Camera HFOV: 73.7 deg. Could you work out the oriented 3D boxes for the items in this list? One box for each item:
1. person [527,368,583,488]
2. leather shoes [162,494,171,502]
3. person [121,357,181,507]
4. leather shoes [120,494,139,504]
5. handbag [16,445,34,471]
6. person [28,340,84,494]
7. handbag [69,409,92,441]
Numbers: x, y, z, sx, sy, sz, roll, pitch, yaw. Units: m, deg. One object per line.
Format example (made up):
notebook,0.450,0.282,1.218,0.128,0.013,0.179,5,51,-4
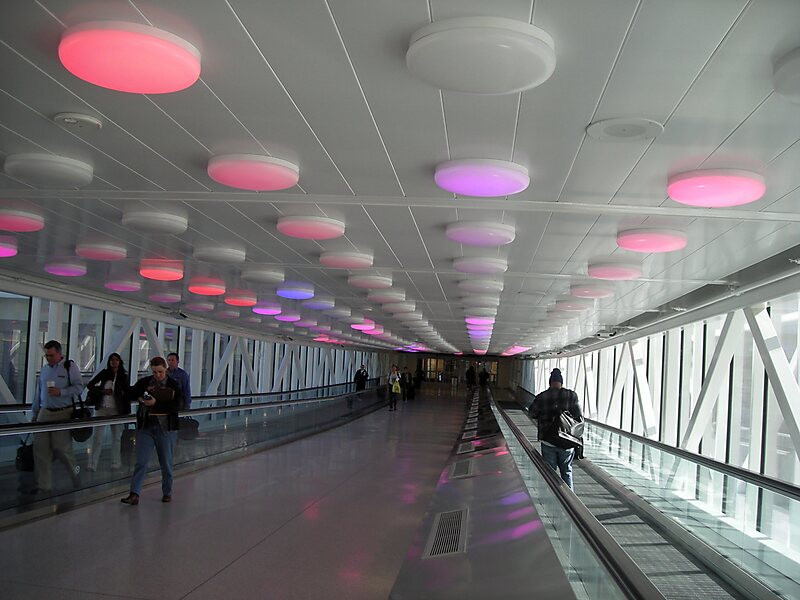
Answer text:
person,3.001,2.354,10.225,0.909,2.067,0.445,-5,-9,17
leather shoes,-4.034,3.392,9.243,0.095,0.066,0.184,5,-5,2
person,-4.224,2.199,9.143,0.843,2.460,0.807,1,-9,-25
leather shoes,-4.548,3.326,9.042,0.345,0.188,0.187,-7,-9,33
handbag,-5.805,2.432,8.300,0.237,0.388,0.433,3,-9,-33
person,-5.760,1.880,9.060,0.706,2.386,1.421,3,-9,-32
handbag,-5.654,2.186,9.530,0.317,0.508,1.847,2,-8,-30
